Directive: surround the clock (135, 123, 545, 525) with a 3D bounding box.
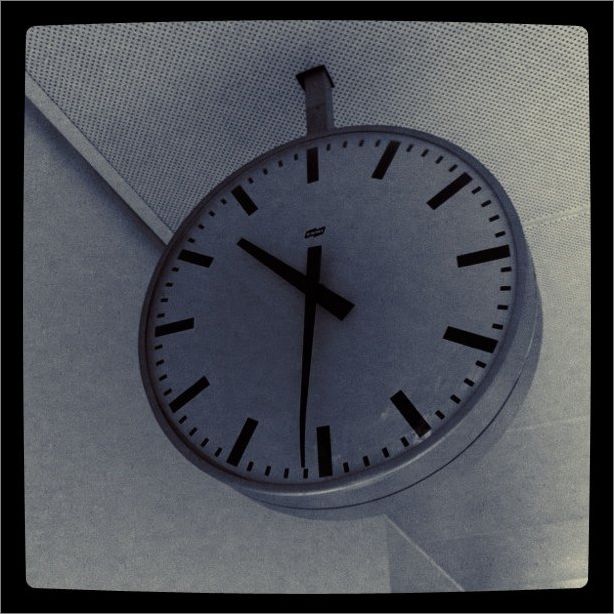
[{"bbox_3d":[0.034,0.002,1.520,0.606,0.167,0.557,-12,84,0],"label":"clock"}]
